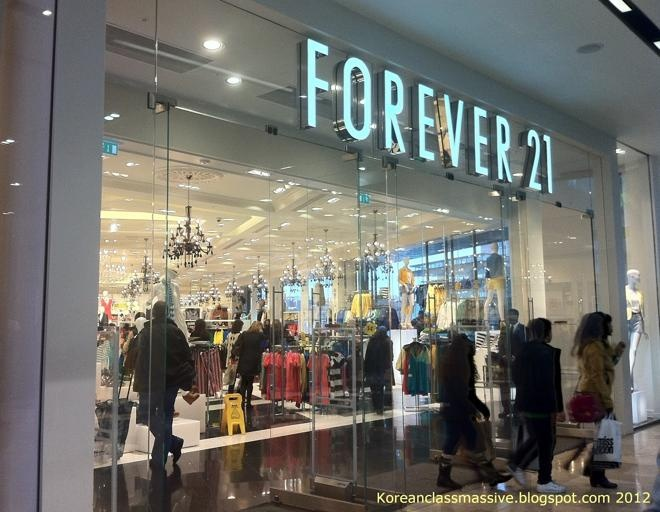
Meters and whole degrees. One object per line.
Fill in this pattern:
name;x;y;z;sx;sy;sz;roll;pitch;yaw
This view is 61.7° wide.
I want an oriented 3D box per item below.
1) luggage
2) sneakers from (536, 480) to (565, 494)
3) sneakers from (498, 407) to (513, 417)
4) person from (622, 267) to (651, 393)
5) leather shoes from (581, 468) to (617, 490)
luggage;-1.312;0.958;3.361;0.237;0.396;0.223;26;9;38
sneakers;2.047;2.167;5.194;0.244;0.122;0.104;0;-9;-1
sneakers;1.691;1.515;5.347;0.080;0.045;0.116;-1;-1;6
person;4.554;1.108;8.228;0.161;1.824;0.685;-8;-10;43
leather shoes;2.575;2.163;5.386;0.306;0.267;0.126;-5;-9;6
